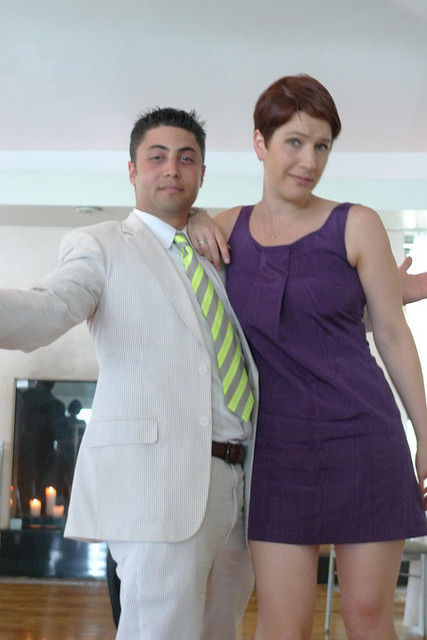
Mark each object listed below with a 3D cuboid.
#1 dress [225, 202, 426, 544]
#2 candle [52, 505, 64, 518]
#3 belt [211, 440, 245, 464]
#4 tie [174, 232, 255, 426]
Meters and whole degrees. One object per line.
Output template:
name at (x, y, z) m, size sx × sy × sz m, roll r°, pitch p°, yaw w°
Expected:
dress at (0.226, 0.101, 1.245) m, size 0.425 × 0.672 × 0.339 m, roll 0°, pitch 5°, yaw 3°
candle at (-1.090, 1.354, 3.861) m, size 0.079 × 0.088 × 0.079 m, roll 0°, pitch -5°, yaw -5°
belt at (0.028, 0.268, 1.098) m, size 0.064 × 0.020 × 0.069 m, roll 3°, pitch -21°, yaw 37°
tie at (0.013, 0.005, 1.166) m, size 0.108 × 0.448 × 0.056 m, roll -18°, pitch 29°, yaw 15°
